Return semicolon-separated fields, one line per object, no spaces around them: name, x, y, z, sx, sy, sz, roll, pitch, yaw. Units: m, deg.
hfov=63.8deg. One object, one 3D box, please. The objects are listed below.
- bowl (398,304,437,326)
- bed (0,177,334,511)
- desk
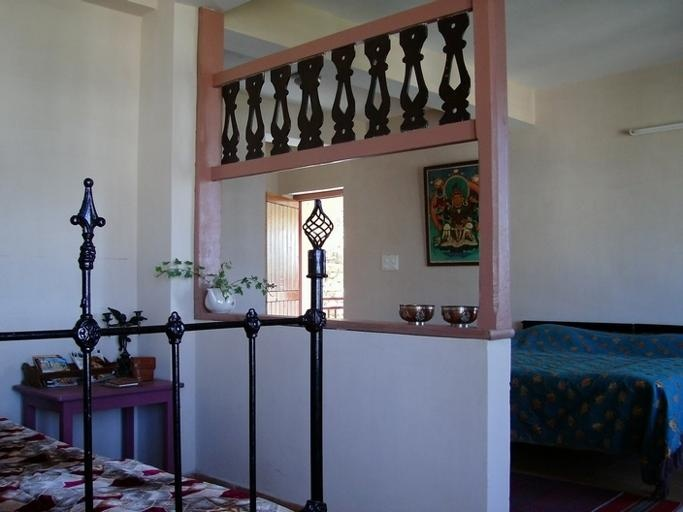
bowl;0.435;0.332;3.122;0.174;0.120;0.248;-3;-2;26
bed;-1.112;0.527;3.264;0.214;1.738;2.133;-4;-5;44
desk;-1.438;1.113;3.671;0.448;0.537;0.560;13;-14;-13
